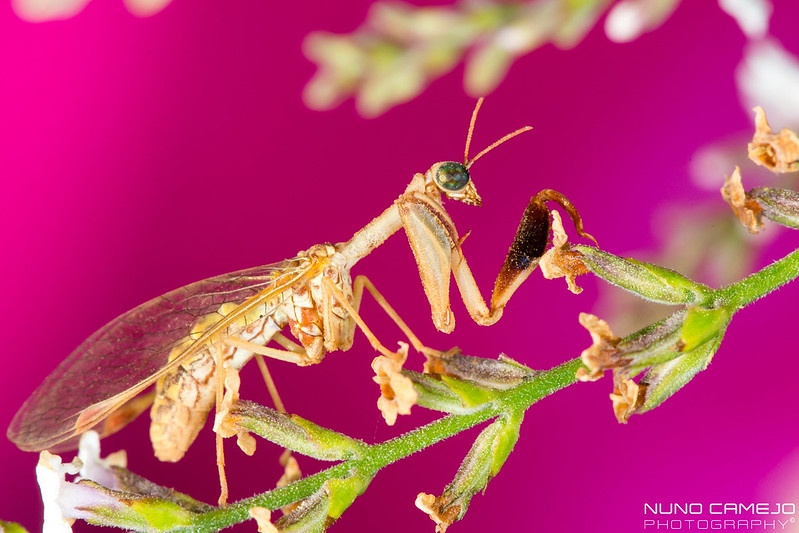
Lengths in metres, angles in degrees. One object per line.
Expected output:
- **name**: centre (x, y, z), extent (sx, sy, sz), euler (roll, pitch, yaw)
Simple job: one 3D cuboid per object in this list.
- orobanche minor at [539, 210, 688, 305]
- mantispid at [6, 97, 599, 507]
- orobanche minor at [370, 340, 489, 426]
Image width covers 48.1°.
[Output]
- **orobanche minor**: centre (0.459, 0.012, 2.010), extent (0.326, 0.173, 0.172), euler (34, 16, 11)
- **mantispid**: centre (-0.203, 0.111, 2.416), extent (1.114, 0.727, 0.451), euler (-6, -29, 21)
- **orobanche minor**: centre (0.042, 0.268, 1.914), extent (0.182, 0.145, 0.127), euler (-15, 25, -32)
